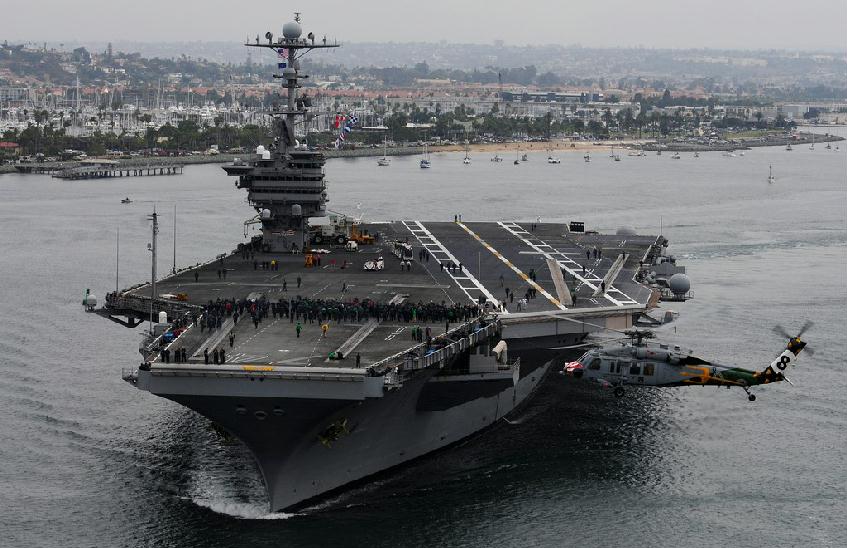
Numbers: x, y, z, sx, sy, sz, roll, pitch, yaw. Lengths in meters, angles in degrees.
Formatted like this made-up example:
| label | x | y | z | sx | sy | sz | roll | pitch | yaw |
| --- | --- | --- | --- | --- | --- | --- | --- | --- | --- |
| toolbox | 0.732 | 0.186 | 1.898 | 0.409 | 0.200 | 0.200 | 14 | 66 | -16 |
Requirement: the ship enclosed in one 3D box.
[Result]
| label | x | y | z | sx | sy | sz | roll | pitch | yaw |
| --- | --- | --- | --- | --- | --- | --- | --- | --- | --- |
| ship | -1.327 | -3.070 | 75.157 | 29.881 | 22.687 | 34.631 | 1 | 13 | 9 |

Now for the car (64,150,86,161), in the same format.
| label | x | y | z | sx | sy | sz | roll | pitch | yaw |
| --- | --- | --- | --- | --- | --- | --- | --- | --- | --- |
| car | -49.084 | -16.827 | 184.670 | 3.005 | 0.823 | 7.177 | -4 | 12 | -14 |

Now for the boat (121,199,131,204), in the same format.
| label | x | y | z | sx | sy | sz | roll | pitch | yaw |
| --- | --- | --- | --- | --- | --- | --- | --- | --- | --- |
| boat | -29.838 | -7.276 | 131.291 | 0.677 | 0.361 | 1.123 | 0 | 7 | -3 |
